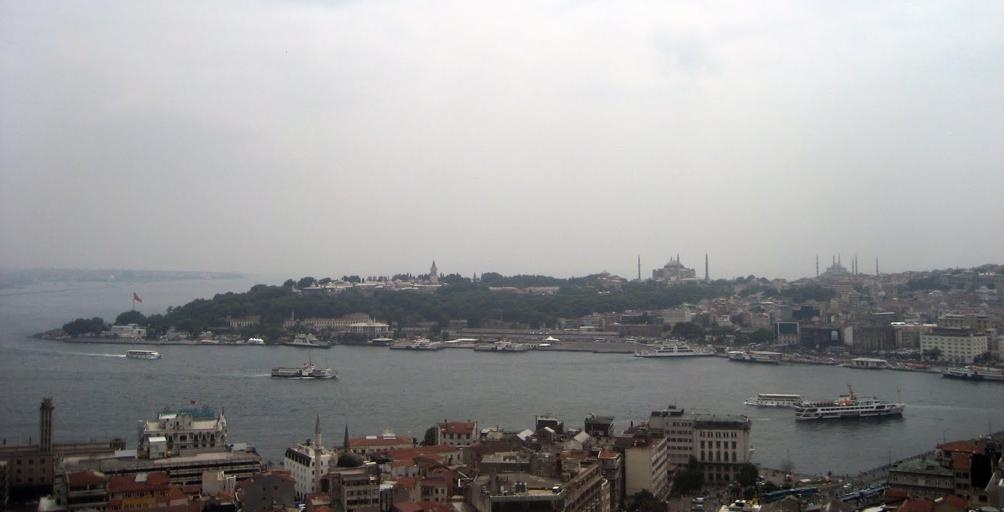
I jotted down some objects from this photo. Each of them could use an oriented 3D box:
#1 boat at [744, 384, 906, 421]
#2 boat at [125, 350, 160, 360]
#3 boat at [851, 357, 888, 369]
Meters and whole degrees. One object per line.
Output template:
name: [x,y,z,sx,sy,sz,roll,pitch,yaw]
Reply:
boat: [7.828,3.593,25.180,3.462,0.518,2.009,2,4,20]
boat: [-11.642,3.206,33.691,0.771,0.147,0.454,2,-2,5]
boat: [11.391,3.341,32.538,1.043,0.259,1.730,1,4,7]
